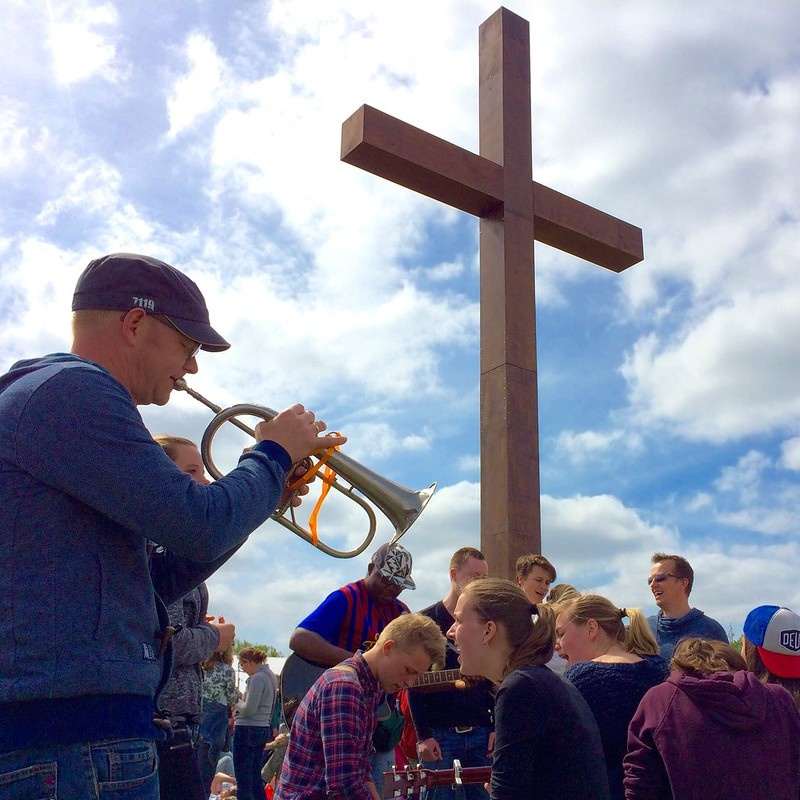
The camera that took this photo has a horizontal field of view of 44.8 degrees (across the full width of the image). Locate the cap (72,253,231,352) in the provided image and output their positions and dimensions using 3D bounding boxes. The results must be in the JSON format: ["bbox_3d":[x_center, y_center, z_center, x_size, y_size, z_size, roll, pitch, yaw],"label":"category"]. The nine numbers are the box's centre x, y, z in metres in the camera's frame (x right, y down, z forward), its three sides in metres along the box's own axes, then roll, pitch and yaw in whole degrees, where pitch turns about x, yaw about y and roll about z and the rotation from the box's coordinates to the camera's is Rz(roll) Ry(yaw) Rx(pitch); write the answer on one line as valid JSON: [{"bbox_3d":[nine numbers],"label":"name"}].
[{"bbox_3d":[-0.612,-0.236,2.444,0.397,0.215,0.267,9,-13,-17],"label":"cap"}]

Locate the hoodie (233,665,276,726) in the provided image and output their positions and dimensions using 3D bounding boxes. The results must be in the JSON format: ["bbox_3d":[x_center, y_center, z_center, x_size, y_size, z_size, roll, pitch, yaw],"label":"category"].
[{"bbox_3d":[-1.046,2.165,7.026,0.228,0.467,0.418,-2,-12,2],"label":"hoodie"}]

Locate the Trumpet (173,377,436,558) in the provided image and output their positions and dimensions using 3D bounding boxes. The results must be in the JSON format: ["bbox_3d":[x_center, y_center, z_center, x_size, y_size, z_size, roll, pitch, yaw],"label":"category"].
[{"bbox_3d":[-0.303,0.205,2.366,0.600,0.267,0.208,33,-33,-1],"label":"Trumpet"}]
